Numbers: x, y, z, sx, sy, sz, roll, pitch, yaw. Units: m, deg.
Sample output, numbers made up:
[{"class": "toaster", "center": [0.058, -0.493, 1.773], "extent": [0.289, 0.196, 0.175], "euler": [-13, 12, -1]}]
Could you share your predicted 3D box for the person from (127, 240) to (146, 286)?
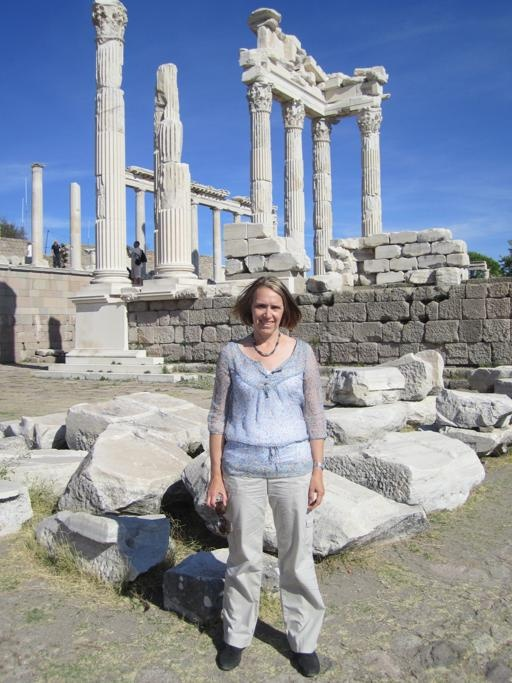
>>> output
[{"class": "person", "center": [-3.618, -2.245, 17.170], "extent": [0.474, 1.392, 1.726], "euler": [0, 2, -13]}]

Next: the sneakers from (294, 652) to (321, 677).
[{"class": "sneakers", "center": [0.193, 1.184, 2.224], "extent": [0.116, 0.066, 0.101], "euler": [1, 2, 12]}]

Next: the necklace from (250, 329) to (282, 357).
[{"class": "necklace", "center": [0.042, 0.012, 2.374], "extent": [0.077, 0.113, 0.028], "euler": [5, 15, 8]}]

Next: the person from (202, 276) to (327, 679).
[{"class": "person", "center": [0.030, 0.472, 2.364], "extent": [0.525, 1.473, 0.393], "euler": [1, 2, 6]}]
